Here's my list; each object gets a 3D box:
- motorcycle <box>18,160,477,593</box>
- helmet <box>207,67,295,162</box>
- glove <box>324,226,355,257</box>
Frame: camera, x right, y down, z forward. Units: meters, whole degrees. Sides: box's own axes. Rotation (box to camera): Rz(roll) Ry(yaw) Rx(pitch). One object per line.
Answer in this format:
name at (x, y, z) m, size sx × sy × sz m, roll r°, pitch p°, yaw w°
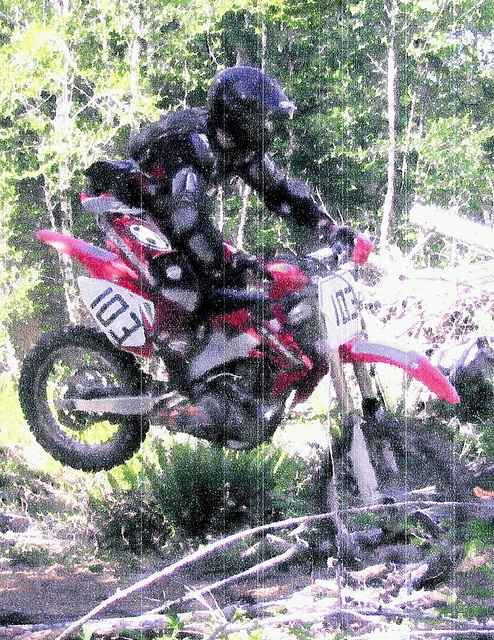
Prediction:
motorcycle at (-0.042, 0.270, 6.852) m, size 2.894 × 1.909 × 1.079 m, roll 13°, pitch 9°, yaw 20°
helmet at (0.082, -1.308, 6.948) m, size 0.651 × 0.552 × 0.478 m, roll 17°, pitch 21°, yaw 33°
glove at (0.575, -0.481, 6.874) m, size 0.137 × 0.184 × 0.075 m, roll 4°, pitch 4°, yaw -3°
